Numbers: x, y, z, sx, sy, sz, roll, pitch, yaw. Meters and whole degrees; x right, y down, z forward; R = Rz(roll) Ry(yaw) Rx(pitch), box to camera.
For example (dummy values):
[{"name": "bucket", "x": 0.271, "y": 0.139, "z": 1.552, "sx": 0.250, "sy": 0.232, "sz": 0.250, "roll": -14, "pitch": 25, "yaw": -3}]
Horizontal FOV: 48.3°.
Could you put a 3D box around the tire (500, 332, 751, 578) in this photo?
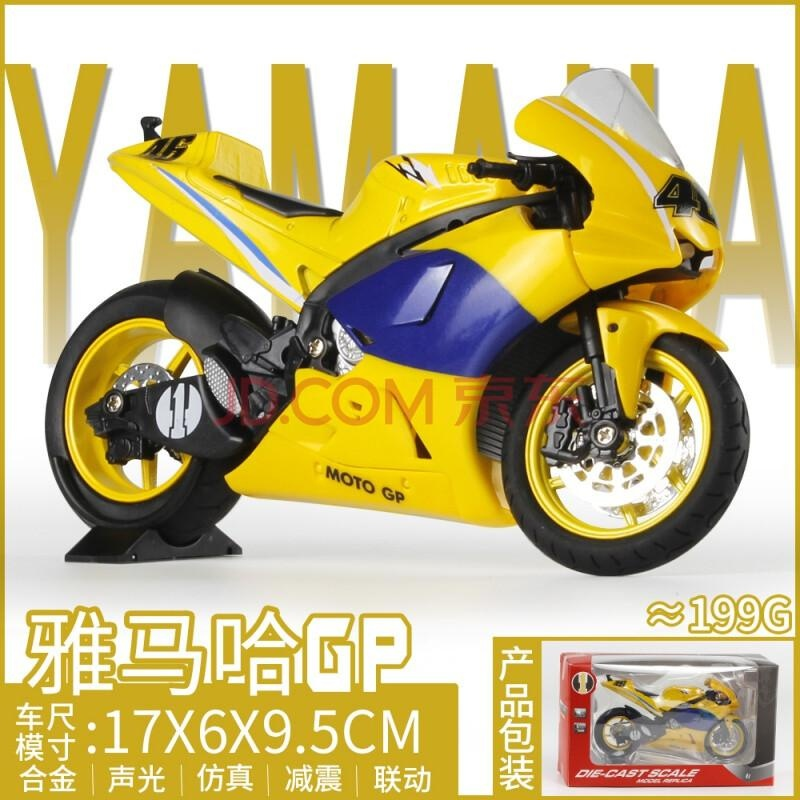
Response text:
[{"name": "tire", "x": 0.474, "y": 0.102, "z": 1.935, "sx": 0.677, "sy": 0.607, "sz": 0.131, "roll": -2, "pitch": -10, "yaw": 19}]

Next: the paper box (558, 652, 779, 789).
[{"name": "paper box", "x": 0.477, "y": 0.538, "z": 1.478, "sx": 0.356, "sy": 0.202, "sz": 0.134, "roll": -11, "pitch": -25, "yaw": 33}]
